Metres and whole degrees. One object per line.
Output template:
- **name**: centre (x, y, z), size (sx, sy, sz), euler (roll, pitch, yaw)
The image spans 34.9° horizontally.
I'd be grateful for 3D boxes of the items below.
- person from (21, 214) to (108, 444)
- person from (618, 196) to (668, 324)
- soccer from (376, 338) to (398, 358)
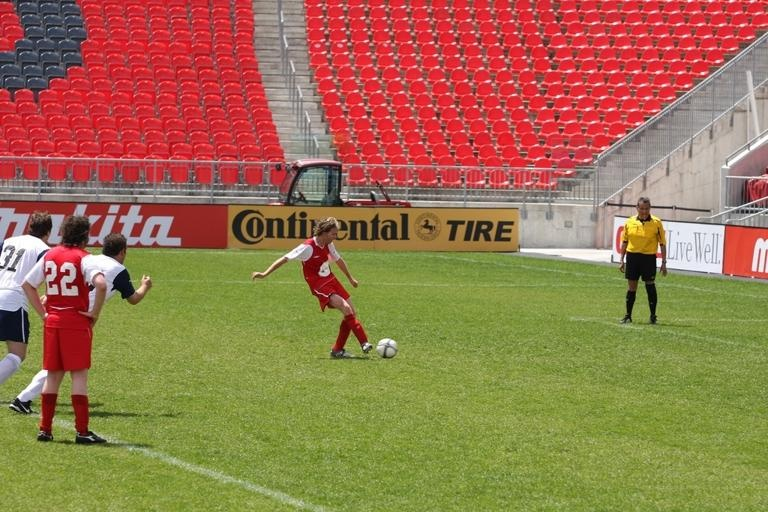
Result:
- **person**: centre (-5.001, 1.176, 19.993), size (1.624, 3.642, 1.149), euler (2, 2, 23)
- **person**: centre (5.623, 0.057, 26.375), size (1.020, 2.774, 0.874), euler (2, -5, -5)
- **soccer**: centre (0.092, 1.770, 23.355), size (0.381, 0.375, 0.322), euler (1, -5, -1)
